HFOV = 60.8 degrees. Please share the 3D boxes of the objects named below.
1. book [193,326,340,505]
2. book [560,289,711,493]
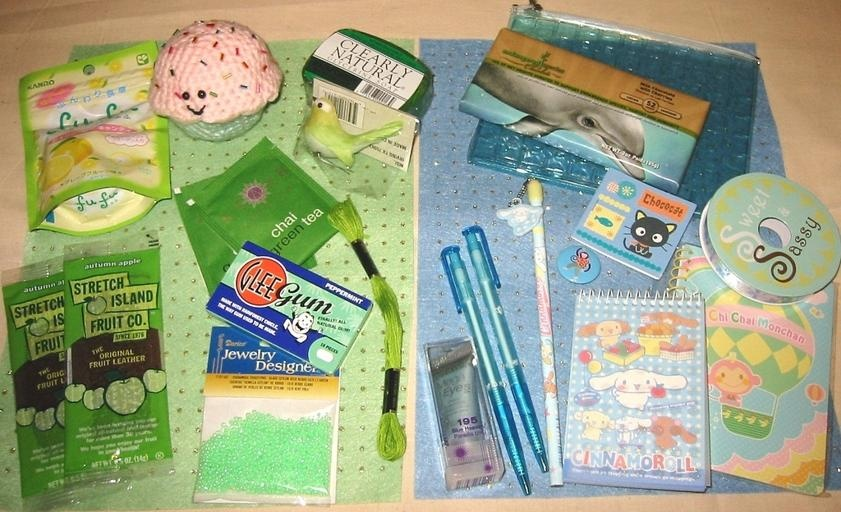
[{"bbox_3d":[-0.365,0.375,1.707,0.324,0.418,0.105,1,-20,-11],"label":"book"},{"bbox_3d":[0.505,0.315,1.831,0.358,0.439,0.458,1,-5,9],"label":"book"}]
